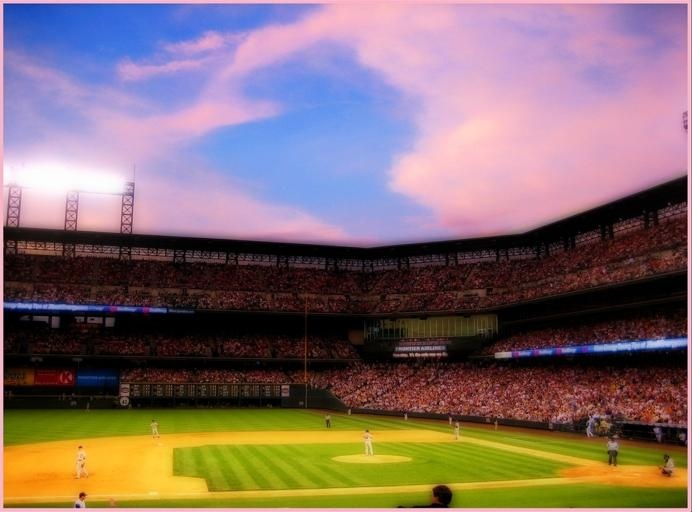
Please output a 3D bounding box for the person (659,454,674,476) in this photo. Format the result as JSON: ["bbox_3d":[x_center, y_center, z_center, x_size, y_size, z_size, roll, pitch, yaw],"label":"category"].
[{"bbox_3d":[21.322,13.743,51.128,0.748,1.435,1.306,-3,-10,19],"label":"person"}]
